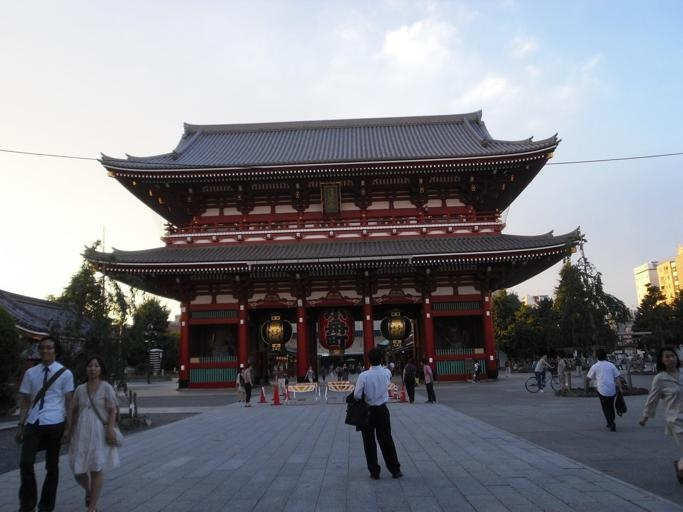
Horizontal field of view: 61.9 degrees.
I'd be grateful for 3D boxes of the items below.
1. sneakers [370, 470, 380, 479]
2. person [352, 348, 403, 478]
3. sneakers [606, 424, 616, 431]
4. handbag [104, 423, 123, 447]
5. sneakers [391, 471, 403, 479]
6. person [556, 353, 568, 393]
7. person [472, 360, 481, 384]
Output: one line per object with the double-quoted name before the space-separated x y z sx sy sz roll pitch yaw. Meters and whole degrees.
"sneakers" 0.634 4.219 10.910 0.183 0.138 0.205 -4 -16 0
"person" 0.682 3.072 11.254 0.786 2.512 1.034 -5 -15 4
"sneakers" 6.849 4.351 14.365 0.258 0.173 0.317 -6 -16 7
"handbag" -3.886 3.076 9.679 0.273 0.329 0.258 2 -17 -22
"sneakers" 1.079 4.204 10.939 0.249 0.131 0.218 0 -16 -13
"person" 9.638 5.147 24.755 0.416 1.418 2.388 -9 -16 19
"person" 6.964 5.966 29.438 0.473 1.091 0.272 -2 -15 -8
